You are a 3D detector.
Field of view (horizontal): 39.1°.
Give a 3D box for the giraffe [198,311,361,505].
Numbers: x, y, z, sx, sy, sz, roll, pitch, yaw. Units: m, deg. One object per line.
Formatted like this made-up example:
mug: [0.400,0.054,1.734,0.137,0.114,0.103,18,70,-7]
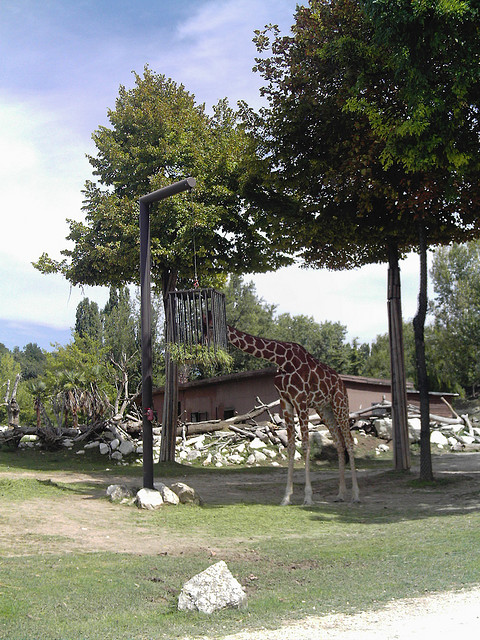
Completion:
giraffe: [1.299,1.942,13.260,2.628,3.405,1.016,2,-5,-37]
